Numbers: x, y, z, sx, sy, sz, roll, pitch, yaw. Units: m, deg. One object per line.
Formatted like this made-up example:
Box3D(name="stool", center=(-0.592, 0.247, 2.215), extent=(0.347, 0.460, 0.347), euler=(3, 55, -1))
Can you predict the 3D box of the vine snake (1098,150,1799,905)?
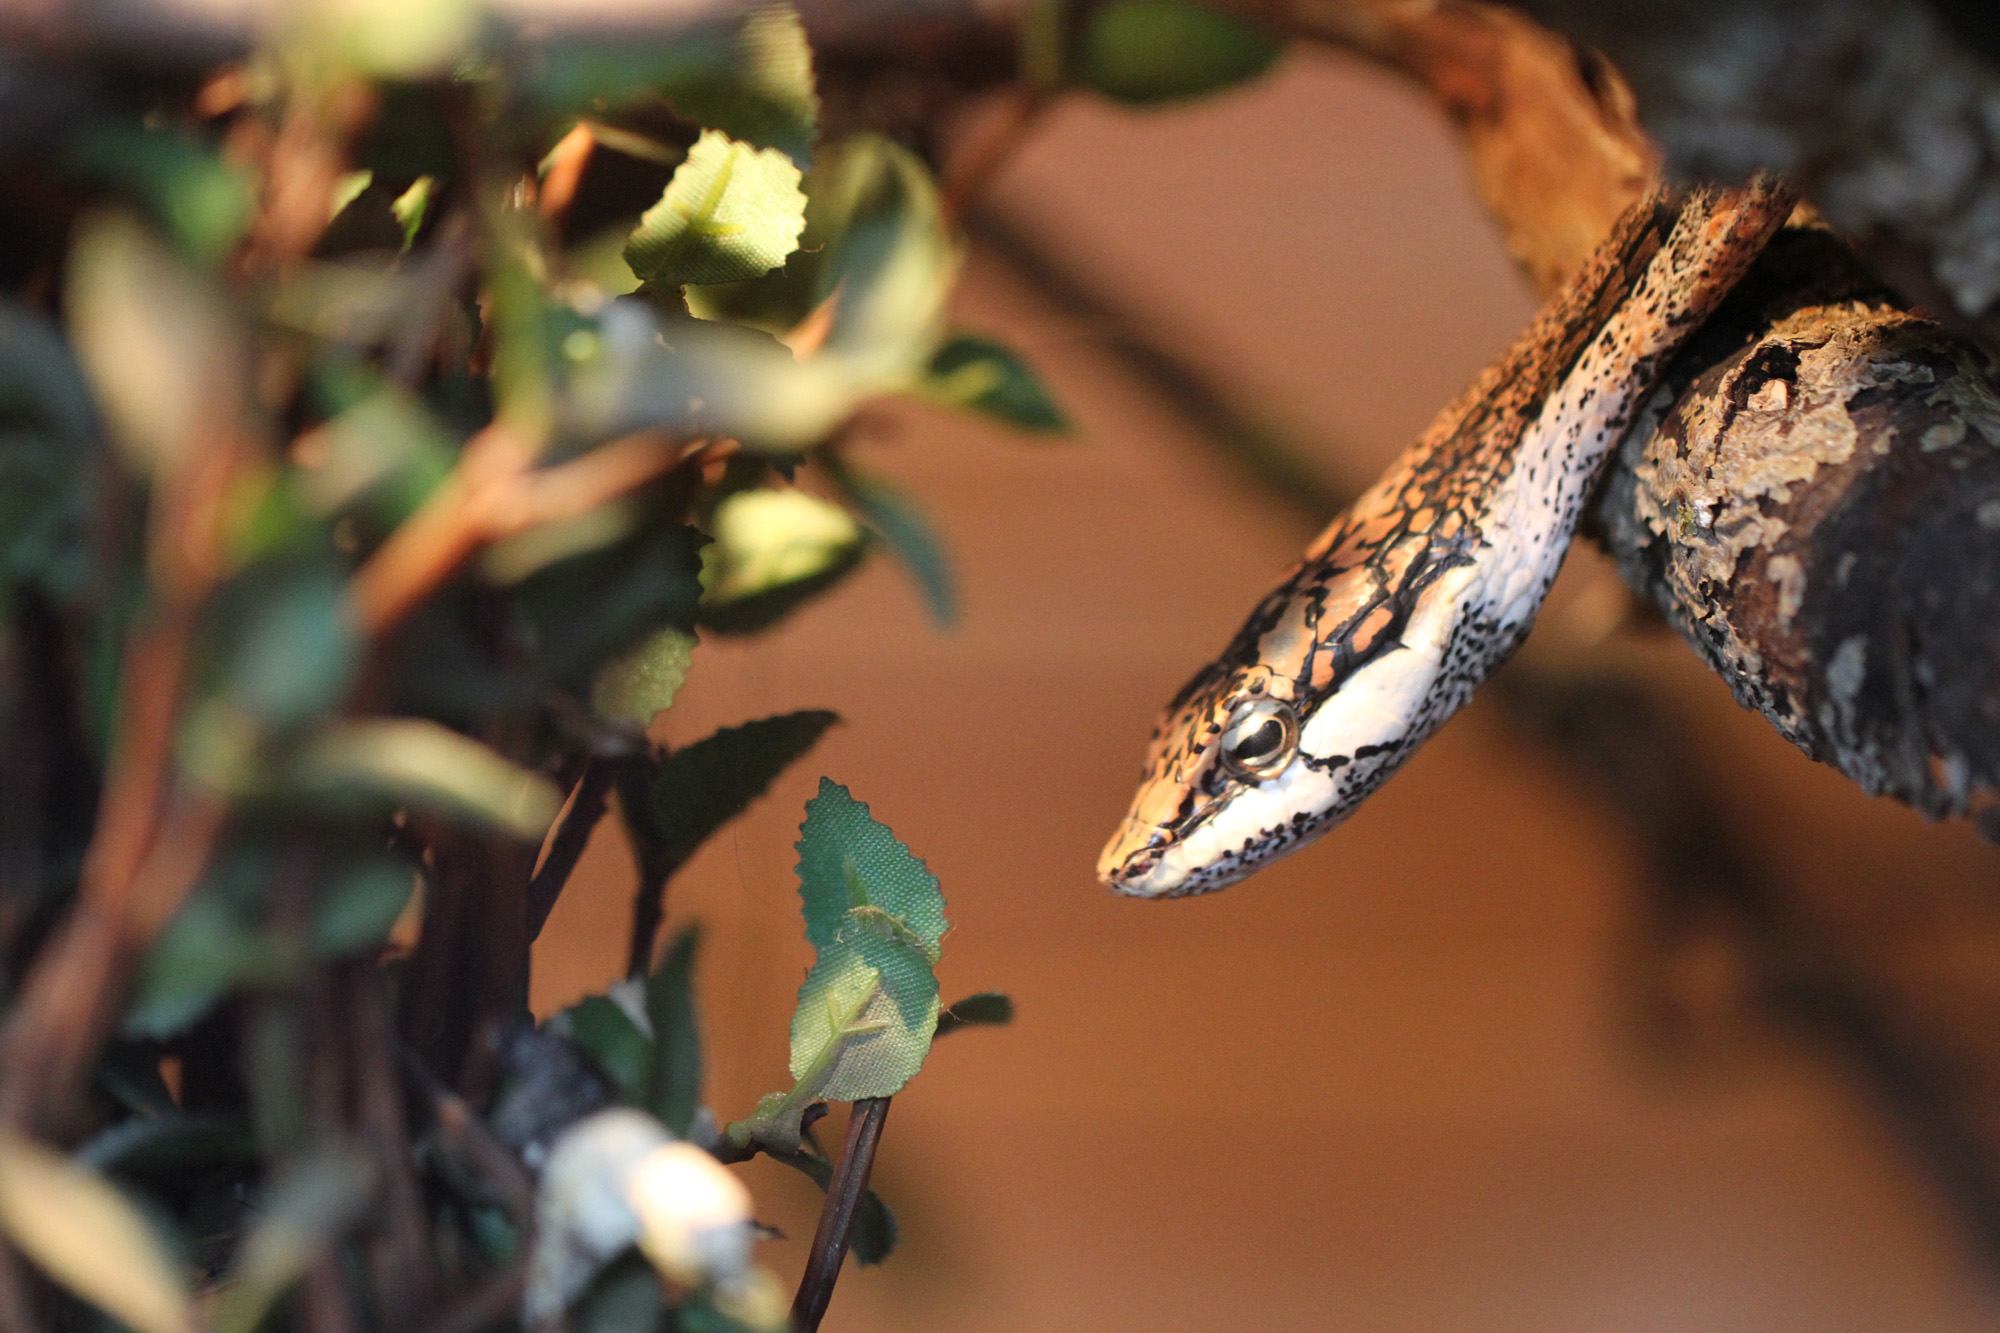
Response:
Box3D(name="vine snake", center=(0.241, -0.081, 1.254), extent=(0.092, 0.452, 0.118), euler=(36, 5, -29))
